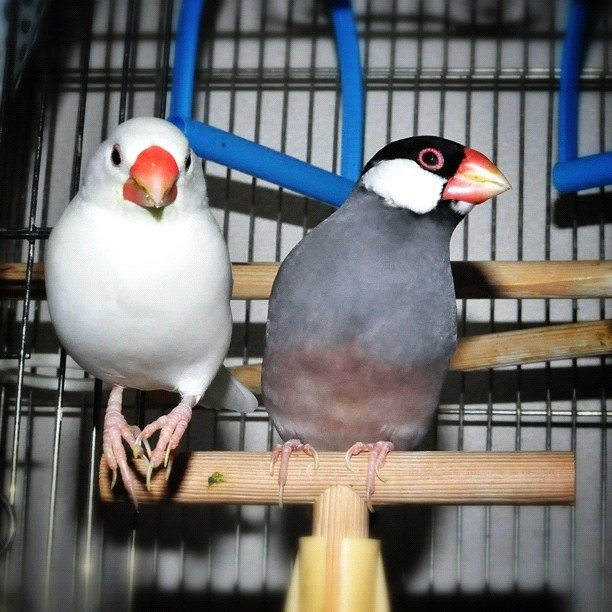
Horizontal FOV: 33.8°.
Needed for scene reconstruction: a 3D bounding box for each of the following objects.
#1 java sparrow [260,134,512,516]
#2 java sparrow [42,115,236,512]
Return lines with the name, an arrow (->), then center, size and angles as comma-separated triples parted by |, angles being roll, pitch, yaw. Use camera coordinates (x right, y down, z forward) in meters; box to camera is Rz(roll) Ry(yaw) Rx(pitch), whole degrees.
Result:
java sparrow -> 0.102, -0.010, 1.310 | 0.294, 0.414, 0.109 | -1, 7, -14
java sparrow -> -0.205, 0.003, 1.238 | 0.227, 0.466, 0.127 | 0, 7, -5
